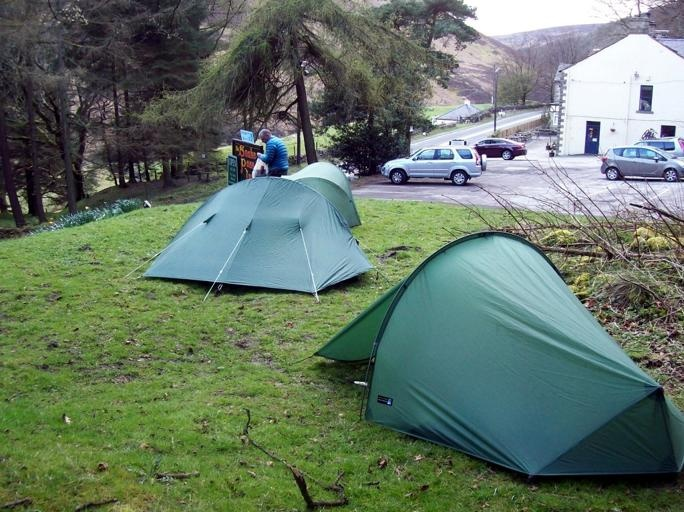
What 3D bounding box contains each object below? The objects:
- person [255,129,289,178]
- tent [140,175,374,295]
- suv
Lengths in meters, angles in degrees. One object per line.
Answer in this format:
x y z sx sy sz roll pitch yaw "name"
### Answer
-1.581 -2.359 13.278 0.632 1.068 1.609 -3 12 -7 "person"
-1.531 -0.298 10.723 2.839 1.072 2.772 6 15 20 "tent"
4.166 -4.099 25.697 4.041 1.508 1.861 5 12 17 "suv"
